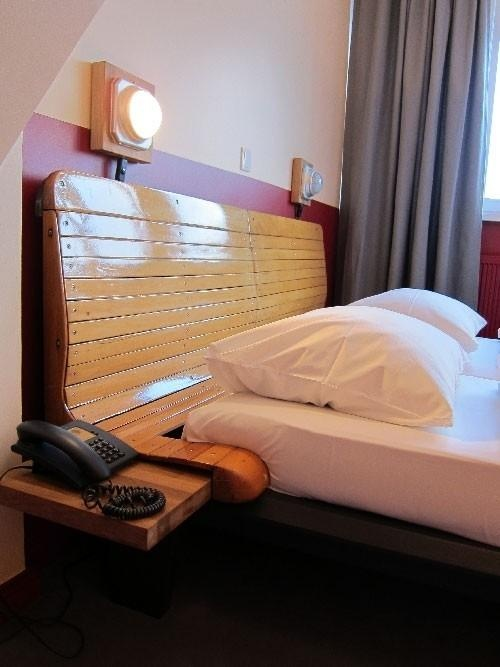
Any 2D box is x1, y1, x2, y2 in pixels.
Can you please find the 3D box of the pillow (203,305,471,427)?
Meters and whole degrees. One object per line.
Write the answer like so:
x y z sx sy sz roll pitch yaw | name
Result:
0.236 0.052 1.307 0.570 0.215 0.407 8 13 26 | pillow

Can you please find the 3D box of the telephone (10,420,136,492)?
-0.335 0.211 1.025 0.217 0.085 0.228 7 6 4 | telephone

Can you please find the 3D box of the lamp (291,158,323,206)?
0.288 -0.733 2.570 0.123 0.196 0.222 8 15 19 | lamp
